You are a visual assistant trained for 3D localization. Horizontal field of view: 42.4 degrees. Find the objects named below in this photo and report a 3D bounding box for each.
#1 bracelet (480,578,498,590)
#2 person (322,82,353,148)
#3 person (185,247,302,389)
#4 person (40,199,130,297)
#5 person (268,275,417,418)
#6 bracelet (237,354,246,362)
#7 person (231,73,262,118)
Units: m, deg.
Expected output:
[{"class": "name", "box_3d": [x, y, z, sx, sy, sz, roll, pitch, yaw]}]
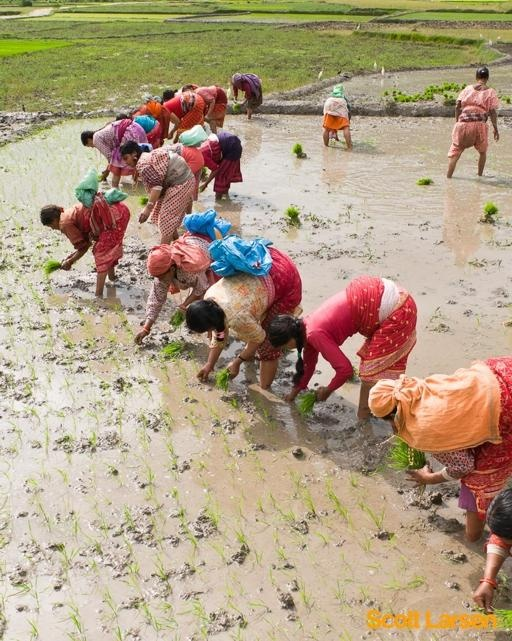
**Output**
[{"class": "bracelet", "box_3d": [1.168, 1.316, 3.315, 0.073, 0.016, 0.068, 24, -3, -13]}, {"class": "person", "box_3d": [1.467, -3.664, 11.924, 0.526, 1.089, 1.227, 1, 21, 7]}, {"class": "person", "box_3d": [-0.083, 0.098, 5.098, 0.586, 1.084, 0.992, 24, 48, 28]}, {"class": "person", "box_3d": [-1.654, -0.749, 6.580, 0.833, 1.026, 0.380, -6, 24, -12]}, {"class": "person", "box_3d": [0.660, 0.137, 4.492, 1.278, 1.091, 0.681, 2, 41, 10]}, {"class": "bracelet", "box_3d": [-0.109, 0.279, 4.949, 0.016, 0.050, 0.056, -12, 37, -31]}, {"class": "person", "box_3d": [-0.191, -4.677, 13.863, 0.654, 0.949, 0.450, -2, 42, -2]}]
